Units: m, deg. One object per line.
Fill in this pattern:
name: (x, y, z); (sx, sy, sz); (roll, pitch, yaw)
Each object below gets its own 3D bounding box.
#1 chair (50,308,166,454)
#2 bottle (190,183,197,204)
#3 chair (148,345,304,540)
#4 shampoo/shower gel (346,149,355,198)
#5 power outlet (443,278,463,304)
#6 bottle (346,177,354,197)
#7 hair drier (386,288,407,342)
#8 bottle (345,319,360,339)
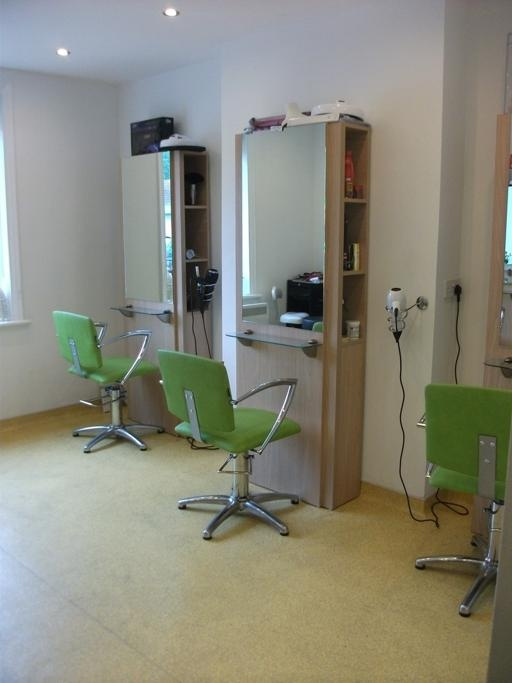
chair: (-0.967, 0.221, 3.584); (0.602, 0.950, 0.656); (-3, 15, -15)
bottle: (-0.413, -0.978, 3.598); (0.031, 0.138, 0.038); (-3, 9, -16)
chair: (-0.071, 0.419, 2.521); (0.596, 0.850, 0.593); (-8, 13, -31)
shampoo/shower gel: (0.436, -0.789, 2.546); (0.050, 0.197, 0.053); (2, 16, 19)
power outlet: (0.951, -0.246, 2.633); (0.015, 0.087, 0.114); (11, 16, 41)
bottle: (0.443, -0.723, 2.548); (0.025, 0.097, 0.137); (3, 8, 21)
hair drier: (0.661, -0.121, 2.560); (0.107, 0.259, 0.236); (2, 8, 14)
bottle: (0.478, -0.057, 2.662); (0.075, 0.119, 0.078); (-1, 3, 0)
